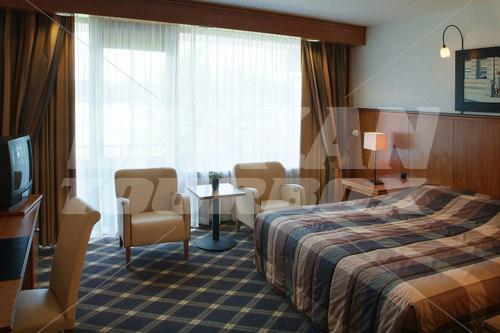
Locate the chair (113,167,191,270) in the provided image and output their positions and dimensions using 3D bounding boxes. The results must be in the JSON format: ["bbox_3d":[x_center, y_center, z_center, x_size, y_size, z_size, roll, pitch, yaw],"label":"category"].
[{"bbox_3d":[-1.411,0.638,5.606,1.259,1.723,1.302,-1,0,-27],"label":"chair"}]

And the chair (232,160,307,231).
[{"bbox_3d":[0.305,0.537,6.005,0.999,1.150,0.906,-1,3,-28],"label":"chair"}]

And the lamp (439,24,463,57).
[{"bbox_3d":[3.053,-1.910,5.363,0.305,0.520,0.514,1,8,28],"label":"lamp"}]

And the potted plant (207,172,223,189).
[{"bbox_3d":[-0.539,0.212,5.602,0.284,0.357,0.257,0,2,-5],"label":"potted plant"}]

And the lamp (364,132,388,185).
[{"bbox_3d":[2.235,-0.152,6.296,0.382,0.892,0.611,0,8,21],"label":"lamp"}]
